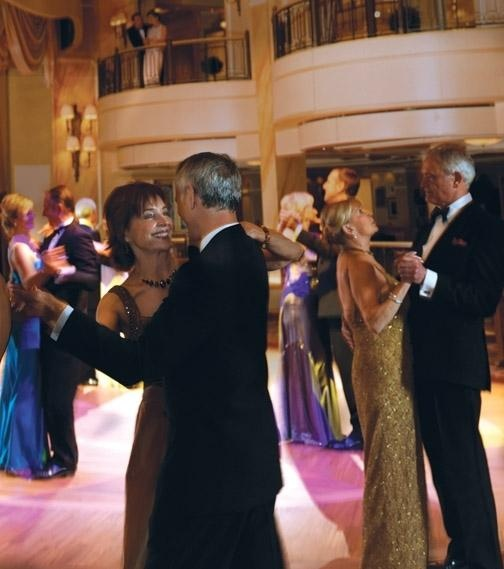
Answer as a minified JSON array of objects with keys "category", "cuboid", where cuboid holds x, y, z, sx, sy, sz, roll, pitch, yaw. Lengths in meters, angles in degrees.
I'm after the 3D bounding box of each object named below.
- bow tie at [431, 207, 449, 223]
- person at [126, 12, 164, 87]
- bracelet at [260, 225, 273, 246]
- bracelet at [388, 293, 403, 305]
[{"category":"bow tie","cuboid":[0.772,-0.287,2.302,0.045,0.054,0.074,2,7,14]},{"category":"person","cuboid":[-1.632,-3.635,8.836,0.460,1.518,0.374,-5,-19,2]},{"category":"bracelet","cuboid":[0.043,-0.142,1.655,0.027,0.060,0.043,-2,5,-24]},{"category":"bracelet","cuboid":[0.523,0.055,2.033,0.039,0.011,0.038,40,8,-49]}]
